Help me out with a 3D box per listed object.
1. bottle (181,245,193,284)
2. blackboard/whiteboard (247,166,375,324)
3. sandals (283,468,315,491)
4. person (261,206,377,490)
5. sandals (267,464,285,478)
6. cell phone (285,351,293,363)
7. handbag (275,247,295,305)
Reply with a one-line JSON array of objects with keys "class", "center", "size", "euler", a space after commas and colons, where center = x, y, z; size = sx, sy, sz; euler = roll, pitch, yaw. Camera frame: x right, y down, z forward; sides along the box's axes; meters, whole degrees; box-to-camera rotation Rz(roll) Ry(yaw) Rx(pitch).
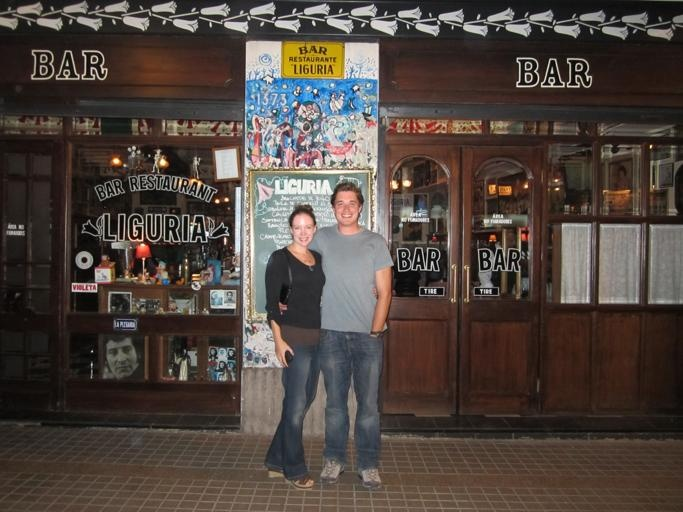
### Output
[{"class": "bottle", "center": [-1.865, 0.129, 7.952], "size": [0.107, 0.440, 0.041], "euler": [-1, 0, -7]}, {"class": "blackboard/whiteboard", "center": [-0.327, -0.054, 6.883], "size": [1.703, 2.028, 0.139], "euler": [0, -3, -1]}, {"class": "sandals", "center": [-0.409, 2.205, 6.513], "size": [0.137, 0.119, 0.290], "euler": [3, -6, -43]}, {"class": "person", "center": [-0.447, 0.903, 6.511], "size": [0.583, 2.707, 0.248], "euler": [-1, 0, -12]}, {"class": "sandals", "center": [-0.618, 2.172, 6.650], "size": [0.254, 0.103, 0.087], "euler": [1, -1, 8]}, {"class": "cell phone", "center": [-0.514, 0.989, 6.385], "size": [0.108, 0.100, 0.080], "euler": [4, 2, -15]}, {"class": "handbag", "center": [-0.551, 0.211, 6.416], "size": [0.134, 0.552, 0.109], "euler": [-2, 0, -21]}]
